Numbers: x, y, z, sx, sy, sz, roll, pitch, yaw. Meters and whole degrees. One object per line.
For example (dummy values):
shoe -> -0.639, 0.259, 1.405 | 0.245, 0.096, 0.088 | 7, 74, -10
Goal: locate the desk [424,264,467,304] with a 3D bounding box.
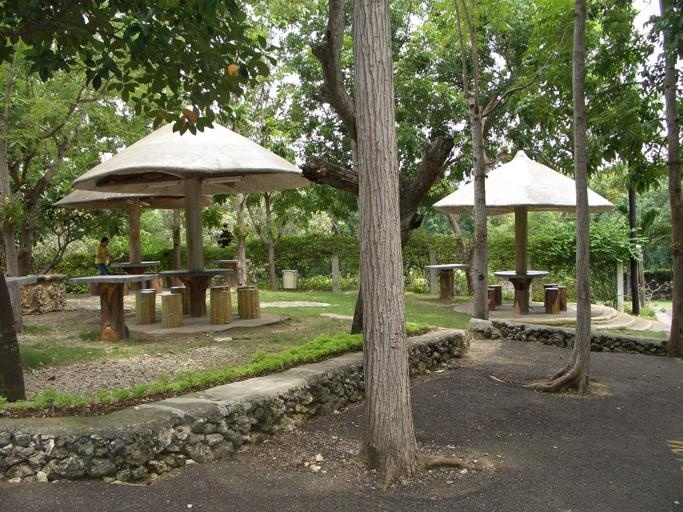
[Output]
desk -> 3.766, 0.986, 20.030 | 1.343, 1.290, 1.403 | -1, -2, 6

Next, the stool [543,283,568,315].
stool -> 6.127, 1.271, 16.260 | 0.777, 0.916, 0.677 | 3, -4, -38

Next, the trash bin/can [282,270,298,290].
trash bin/can -> -2.125, 1.040, 24.162 | 0.702, 0.837, 0.722 | -3, -2, 37

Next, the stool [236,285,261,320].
stool -> -2.432, 1.182, 13.957 | 0.676, 1.037, 0.709 | -2, -3, 38
